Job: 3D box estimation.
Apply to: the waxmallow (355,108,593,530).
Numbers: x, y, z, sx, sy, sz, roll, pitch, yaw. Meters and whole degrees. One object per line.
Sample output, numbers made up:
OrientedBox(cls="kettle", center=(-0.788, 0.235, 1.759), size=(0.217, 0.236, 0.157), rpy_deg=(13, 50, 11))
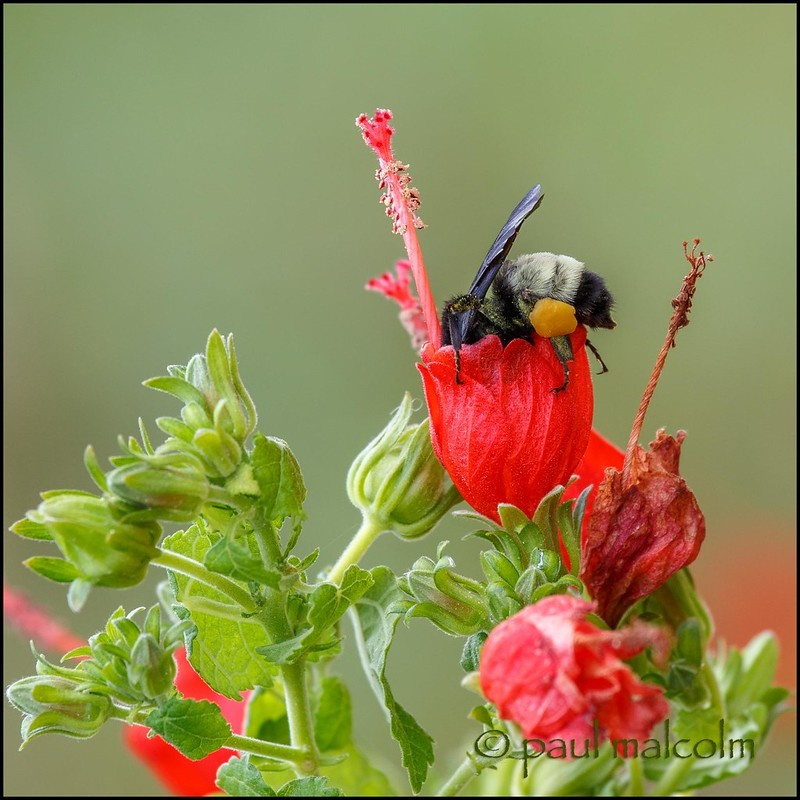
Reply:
OrientedBox(cls="waxmallow", center=(0.080, -0.078, 1.135), size=(0.141, 0.139, 0.429), rpy_deg=(-9, -75, 10))

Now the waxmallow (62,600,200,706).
OrientedBox(cls="waxmallow", center=(-0.241, 0.197, 0.994), size=(0.092, 0.098, 0.054), rpy_deg=(-41, -55, 19))
